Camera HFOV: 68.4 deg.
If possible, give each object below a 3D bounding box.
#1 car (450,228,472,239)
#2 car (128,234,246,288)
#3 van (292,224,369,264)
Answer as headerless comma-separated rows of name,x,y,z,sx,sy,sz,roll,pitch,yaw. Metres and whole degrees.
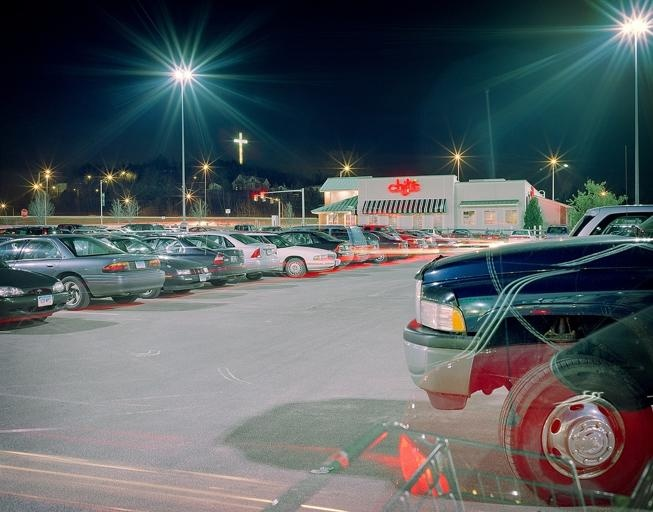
car,14.296,-2.173,51.968,2.269,0.932,1.758,3,6,21
car,-5.011,0.072,17.463,3.762,1.215,1.627,6,4,25
van,0.325,-0.789,25.328,3.532,1.461,1.654,2,1,21
